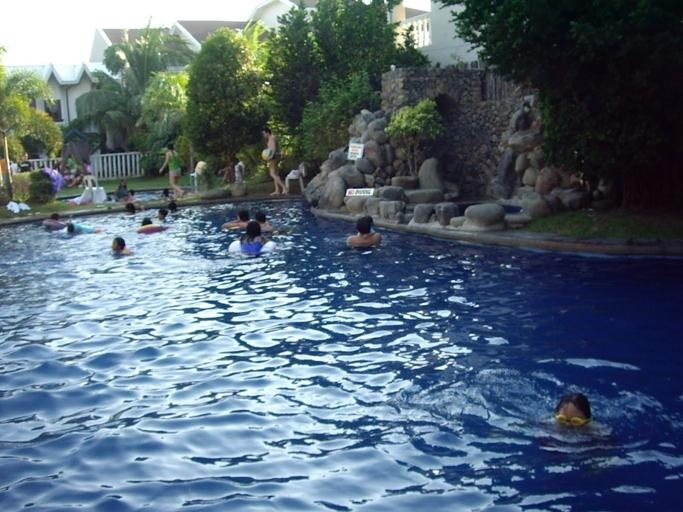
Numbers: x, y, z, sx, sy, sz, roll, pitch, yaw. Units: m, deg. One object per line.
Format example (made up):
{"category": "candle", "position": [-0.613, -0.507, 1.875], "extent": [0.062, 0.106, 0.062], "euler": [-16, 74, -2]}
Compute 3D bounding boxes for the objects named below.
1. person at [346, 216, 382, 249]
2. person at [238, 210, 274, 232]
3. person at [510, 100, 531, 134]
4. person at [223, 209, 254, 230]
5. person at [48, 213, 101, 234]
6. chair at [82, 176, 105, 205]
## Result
{"category": "person", "position": [0.550, -0.561, 14.725], "extent": [0.663, 0.946, 0.555], "euler": [6, 34, 9]}
{"category": "person", "position": [-2.189, -0.901, 15.211], "extent": [0.612, 0.355, 0.830], "euler": [1, 7, -14]}
{"category": "person", "position": [5.686, -4.414, 18.912], "extent": [0.552, 0.917, 0.788], "euler": [0, 12, 8]}
{"category": "person", "position": [-2.886, -1.020, 16.361], "extent": [0.787, 0.338, 0.600], "euler": [-17, 15, -7]}
{"category": "person", "position": [-8.162, -0.979, 18.181], "extent": [1.819, 0.530, 0.727], "euler": [8, 9, 14]}
{"category": "chair", "position": [-9.865, -2.650, 23.874], "extent": [0.736, 0.988, 0.969], "euler": [-6, 13, -17]}
